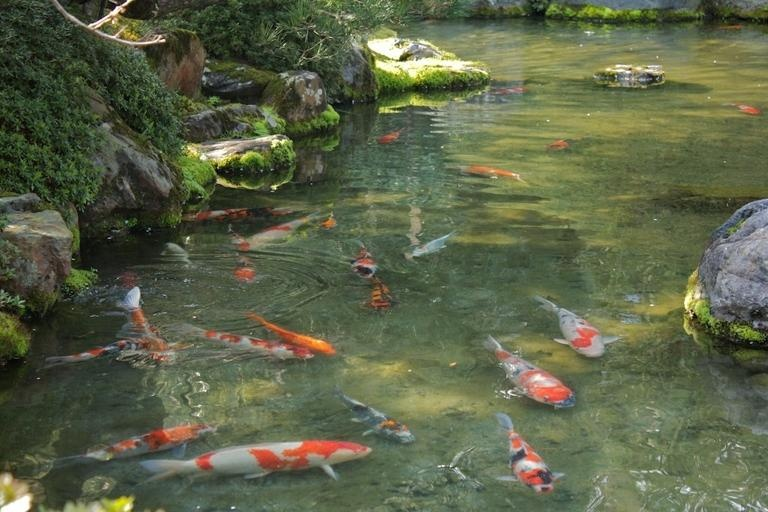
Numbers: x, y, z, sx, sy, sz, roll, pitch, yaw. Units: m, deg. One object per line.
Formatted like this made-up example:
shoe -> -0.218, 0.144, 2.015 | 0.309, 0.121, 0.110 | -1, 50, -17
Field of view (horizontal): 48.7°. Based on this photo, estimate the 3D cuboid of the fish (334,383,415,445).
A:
fish -> -0.197, 2.485, 13.089 | 1.434, 0.383, 0.344 | 21, 76, 17

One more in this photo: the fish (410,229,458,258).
fish -> 0.882, -0.198, 16.671 | 1.062, 0.401, 0.277 | -22, 75, -23

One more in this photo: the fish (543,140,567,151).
fish -> 4.637, -2.944, 22.618 | 0.449, 0.163, 0.453 | -5, 13, 3

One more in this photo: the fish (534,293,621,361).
fish -> 3.205, 1.247, 14.290 | 0.756, 0.254, 1.087 | -14, 31, -22

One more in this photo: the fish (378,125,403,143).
fish -> 0.179, -3.493, 24.212 | 0.516, 0.217, 1.112 | -3, 16, 28
